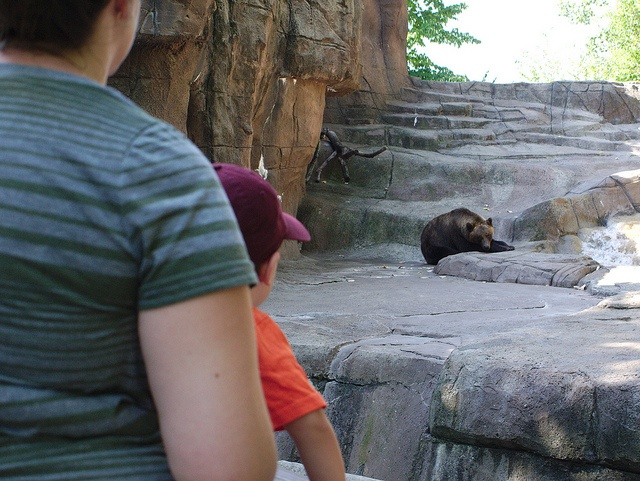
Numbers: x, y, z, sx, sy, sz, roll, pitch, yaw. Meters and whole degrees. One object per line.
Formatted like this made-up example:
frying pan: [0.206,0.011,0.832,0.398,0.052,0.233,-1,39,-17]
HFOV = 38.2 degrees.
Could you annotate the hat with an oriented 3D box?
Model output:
hat: [-0.158,-0.059,2.648,0.305,0.178,0.221,7,29,-37]

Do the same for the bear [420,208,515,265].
bear: [1.684,-0.078,10.912,0.530,0.535,0.996,-17,4,-32]
